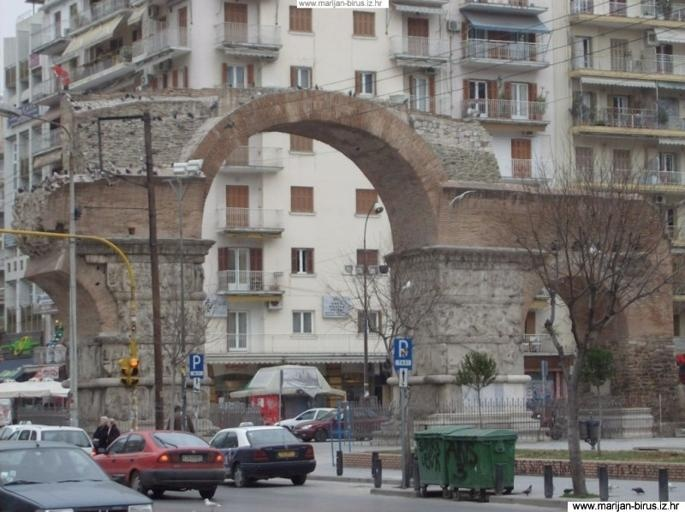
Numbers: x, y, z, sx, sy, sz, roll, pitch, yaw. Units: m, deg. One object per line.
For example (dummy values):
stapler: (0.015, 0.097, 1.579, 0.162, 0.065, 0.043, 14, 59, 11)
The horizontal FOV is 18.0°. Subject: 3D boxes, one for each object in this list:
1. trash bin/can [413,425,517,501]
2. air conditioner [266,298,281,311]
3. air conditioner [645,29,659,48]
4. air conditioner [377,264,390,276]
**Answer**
trash bin/can: (4.580, 7.661, 78.658, 3.580, 2.580, 1.294, -2, -7, 9)
air conditioner: (-3.545, 2.654, 113.810, 0.619, 0.600, 0.614, 2, -10, -14)
air conditioner: (16.674, -11.663, 115.302, 0.824, 1.408, 0.783, 2, 2, 4)
air conditioner: (2.014, 0.730, 104.756, 0.551, 0.418, 0.519, -1, 0, 6)
